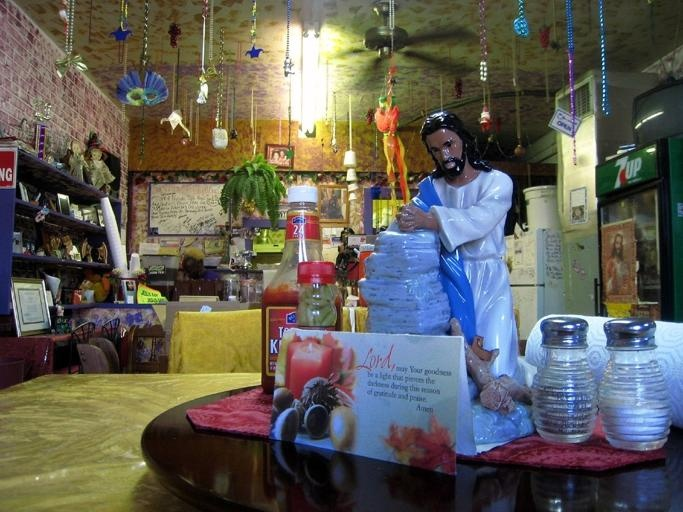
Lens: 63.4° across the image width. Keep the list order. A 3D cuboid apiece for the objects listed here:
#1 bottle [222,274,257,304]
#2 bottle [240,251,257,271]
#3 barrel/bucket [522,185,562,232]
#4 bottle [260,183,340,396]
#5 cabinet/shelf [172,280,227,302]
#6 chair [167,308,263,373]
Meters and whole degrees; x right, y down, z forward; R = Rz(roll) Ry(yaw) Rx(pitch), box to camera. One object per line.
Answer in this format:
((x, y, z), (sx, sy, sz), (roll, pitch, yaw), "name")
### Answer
((-0.829, 0.270, 4.458), (0.306, 0.307, 0.185), (-1, 0, -2), "bottle")
((-1.101, 0.054, 6.354), (0.198, 0.254, 0.172), (-3, -2, 17), "bottle")
((2.128, -0.465, 6.182), (0.496, 0.570, 0.510), (-1, -6, 0), "barrel/bucket")
((-0.081, 0.064, 1.049), (0.116, 0.393, 0.141), (-5, 4, -44), "bottle")
((-1.305, 0.305, 5.065), (0.485, 0.156, 0.331), (-2, 3, 3), "cabinet/shelf")
((-0.402, 0.271, 1.806), (0.278, 0.185, 0.286), (-1, -5, 7), "chair")
